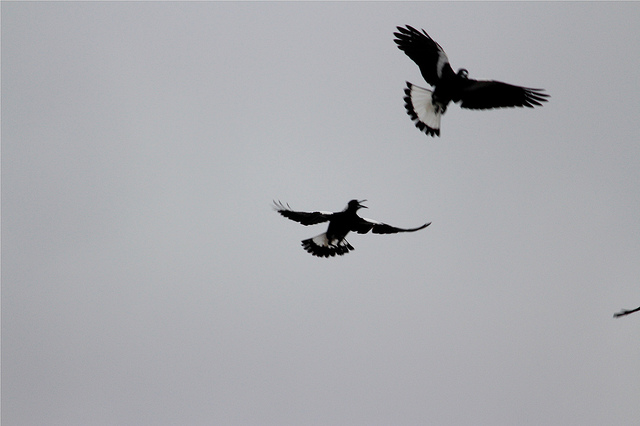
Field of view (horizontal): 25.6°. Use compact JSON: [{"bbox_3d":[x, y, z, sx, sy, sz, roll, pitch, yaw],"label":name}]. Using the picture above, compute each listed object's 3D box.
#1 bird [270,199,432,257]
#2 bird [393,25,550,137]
[{"bbox_3d":[0.065,0.055,5.378,0.361,0.108,0.268,11,-33,-19],"label":"bird"},{"bbox_3d":[0.490,-0.441,5.292,0.593,0.219,0.294,26,-39,2],"label":"bird"}]
